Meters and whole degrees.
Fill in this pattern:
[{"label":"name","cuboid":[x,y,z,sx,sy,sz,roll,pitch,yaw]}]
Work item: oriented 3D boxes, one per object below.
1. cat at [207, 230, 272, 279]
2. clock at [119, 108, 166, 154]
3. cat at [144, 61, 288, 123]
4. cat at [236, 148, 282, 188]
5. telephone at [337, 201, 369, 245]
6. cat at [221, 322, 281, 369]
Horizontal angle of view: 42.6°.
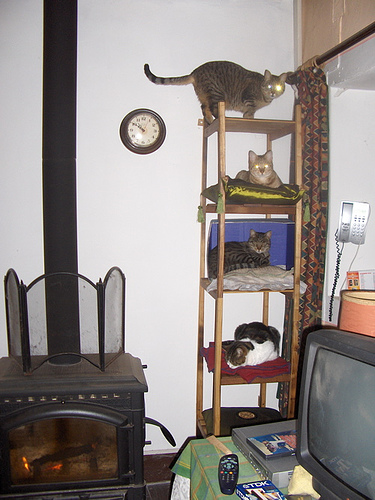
[{"label":"cat","cuboid":[0.196,0.020,2.108,0.332,0.201,0.243,-3,17,2]},{"label":"clock","cuboid":[-0.210,-0.535,2.142,0.187,0.203,0.029,-1,15,-8]},{"label":"cat","cuboid":[0.127,-0.700,2.200,0.643,0.302,0.139,-3,6,-16]},{"label":"cat","cuboid":[0.315,-0.338,2.045,0.146,0.165,0.206,-1,24,4]},{"label":"telephone","cuboid":[0.653,-0.109,1.889,0.107,0.160,0.055,13,15,31]},{"label":"cat","cuboid":[0.285,0.408,2.054,0.206,0.130,0.272,3,8,14]}]
